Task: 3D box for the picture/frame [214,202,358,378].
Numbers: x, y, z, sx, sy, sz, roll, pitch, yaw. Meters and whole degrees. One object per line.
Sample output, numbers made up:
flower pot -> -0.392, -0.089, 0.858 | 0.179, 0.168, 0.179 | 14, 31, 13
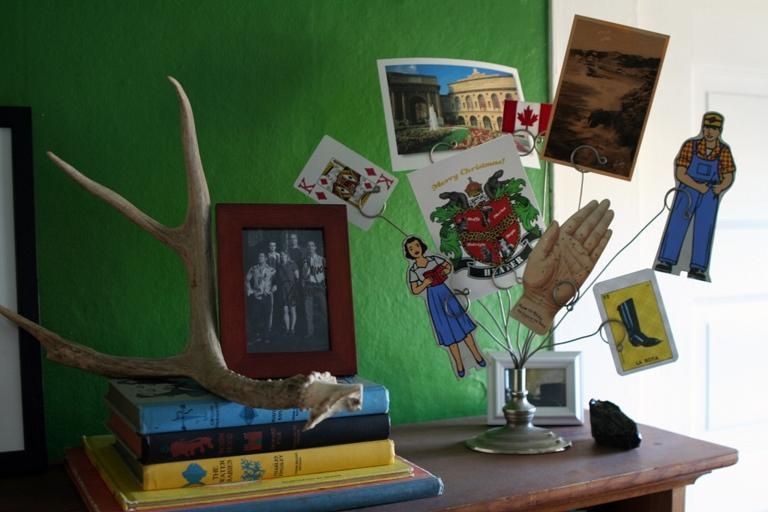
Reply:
picture/frame -> -0.214, 0.081, 1.498 | 0.375, 0.470, 0.032 | -3, -15, -14
